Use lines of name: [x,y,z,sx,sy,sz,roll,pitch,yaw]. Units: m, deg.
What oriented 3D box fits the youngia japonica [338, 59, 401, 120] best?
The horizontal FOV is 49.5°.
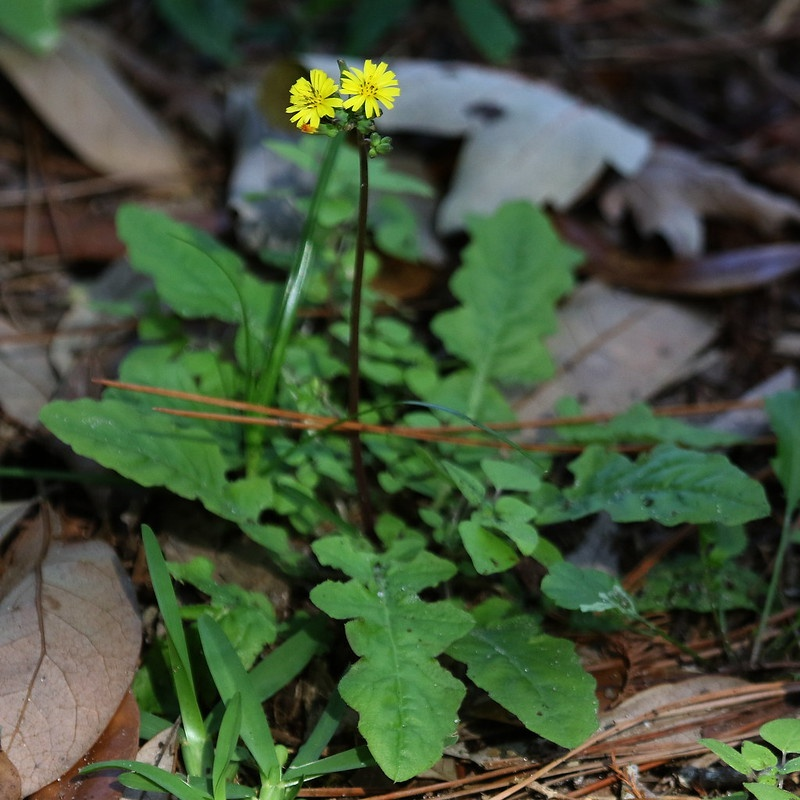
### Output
youngia japonica: [-0.063,-0.549,1.545,0.134,0.094,0.033,11,5,-12]
